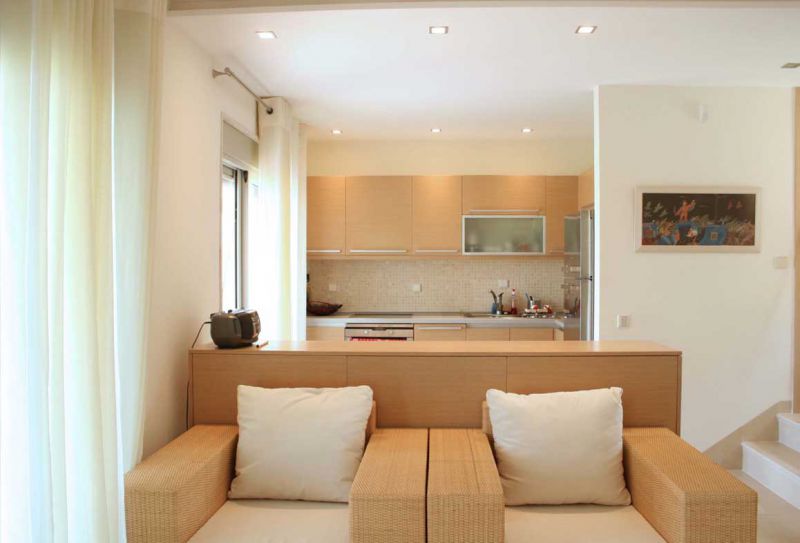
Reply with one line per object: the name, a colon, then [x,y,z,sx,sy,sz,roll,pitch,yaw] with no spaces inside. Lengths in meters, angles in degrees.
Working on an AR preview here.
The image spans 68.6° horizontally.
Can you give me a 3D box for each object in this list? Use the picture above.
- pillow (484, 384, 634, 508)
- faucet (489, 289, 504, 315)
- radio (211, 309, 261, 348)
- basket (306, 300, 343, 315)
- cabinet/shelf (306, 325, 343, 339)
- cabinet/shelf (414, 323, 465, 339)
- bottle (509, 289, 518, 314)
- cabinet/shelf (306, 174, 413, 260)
pillow: [0.875,1.006,3.359,0.838,0.674,0.315,-3,-4,4]
faucet: [1.038,0.327,6.319,0.151,0.257,0.235,0,2,10]
radio: [-1.043,0.351,3.786,0.306,0.229,0.311,-1,5,-5]
basket: [-0.799,0.392,6.149,0.334,0.127,0.145,0,2,-10]
cabinet/shelf: [-0.752,0.611,5.900,0.376,0.132,0.174,0,2,-1]
cabinet/shelf: [0.385,0.593,5.831,0.324,0.148,0.202,1,3,3]
bottle: [1.232,0.316,6.358,0.067,0.255,0.125,0,2,10]
cabinet/shelf: [-0.284,-0.554,6.457,1.365,0.934,0.718,2,3,16]
